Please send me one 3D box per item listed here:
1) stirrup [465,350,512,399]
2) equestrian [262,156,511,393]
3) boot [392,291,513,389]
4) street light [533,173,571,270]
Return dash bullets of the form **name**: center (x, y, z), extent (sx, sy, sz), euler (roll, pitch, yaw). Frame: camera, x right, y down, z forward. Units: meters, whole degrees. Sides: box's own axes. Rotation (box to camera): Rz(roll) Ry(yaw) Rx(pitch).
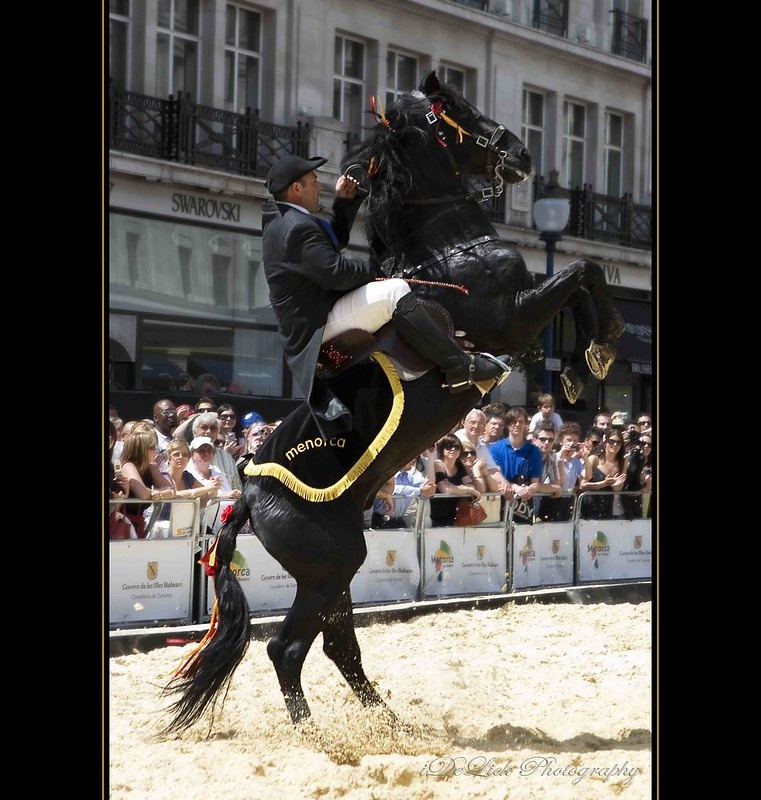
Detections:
- **stirrup**: center (0.379, -0.109, 6.011), extent (0.085, 0.094, 0.249), euler (0, 21, 26)
- **equestrian**: center (-0.017, -0.521, 6.161), extent (0.779, 0.910, 0.732), euler (3, 11, -4)
- **boot**: center (0.255, -0.211, 5.964), extent (0.436, 0.350, 0.195), euler (-1, -1, -6)
- **street light**: center (0.764, -0.832, 7.679), extent (0.183, 0.633, 0.146), euler (3, 10, 33)
